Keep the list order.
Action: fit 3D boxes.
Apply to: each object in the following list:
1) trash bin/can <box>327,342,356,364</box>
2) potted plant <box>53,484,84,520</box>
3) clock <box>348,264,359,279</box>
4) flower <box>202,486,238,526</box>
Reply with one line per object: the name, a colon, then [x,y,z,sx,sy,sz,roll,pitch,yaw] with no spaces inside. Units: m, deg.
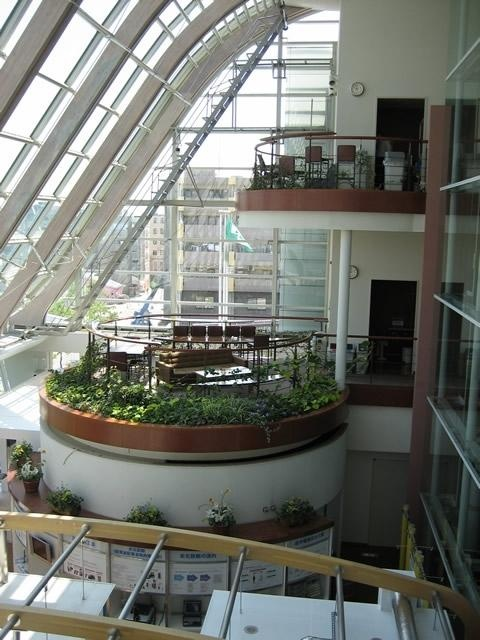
trash bin/can: [2.106,0.655,12.045,0.531,0.403,1.235,3,7,-8]
potted plant: [-2.639,2.710,8.438,0.570,0.371,0.543,21,-3,-22]
clock: [2.363,-1.006,11.717,0.340,0.321,0.070,2,3,23]
flower: [-0.259,2.653,7.940,0.513,0.624,0.511,2,4,3]
